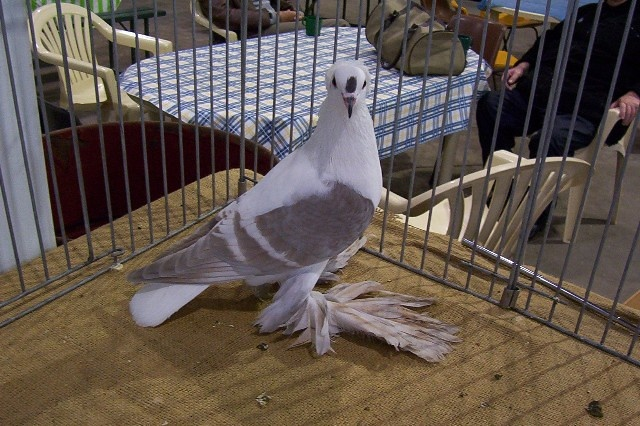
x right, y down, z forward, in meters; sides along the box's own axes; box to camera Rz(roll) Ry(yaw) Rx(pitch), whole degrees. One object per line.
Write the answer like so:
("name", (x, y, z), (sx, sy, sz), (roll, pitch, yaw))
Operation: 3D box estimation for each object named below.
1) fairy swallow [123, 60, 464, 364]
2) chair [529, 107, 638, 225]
("fairy swallow", (-0.094, -0.012, 2.052), (1.203, 1.072, 0.878), (-7, 44, -18))
("chair", (1.517, -0.269, 3.264), (0.569, 0.777, 0.566), (0, 28, 10))
